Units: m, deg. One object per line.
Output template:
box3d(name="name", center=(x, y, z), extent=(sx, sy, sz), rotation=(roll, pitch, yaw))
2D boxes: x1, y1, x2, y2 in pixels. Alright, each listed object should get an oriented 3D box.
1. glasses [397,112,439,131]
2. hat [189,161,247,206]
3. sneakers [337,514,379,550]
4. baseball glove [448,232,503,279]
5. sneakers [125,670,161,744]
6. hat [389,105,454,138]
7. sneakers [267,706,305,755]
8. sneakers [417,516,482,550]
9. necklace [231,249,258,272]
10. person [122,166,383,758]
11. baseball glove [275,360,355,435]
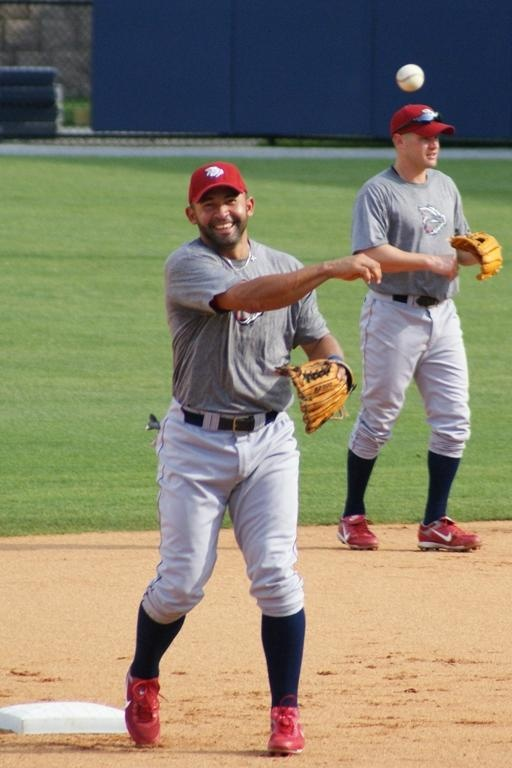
box3d(name="glasses", center=(0.743, -1.187, 6.287), extent=(0.119, 0.032, 0.117), rotation=(-21, 1, 36))
box3d(name="hat", center=(-0.124, -0.659, 4.646), extent=(0.185, 0.144, 0.247), rotation=(1, 13, -1))
box3d(name="sneakers", center=(0.496, 0.687, 6.475), extent=(0.102, 0.106, 0.249), rotation=(-3, 5, -31))
box3d(name="baseball glove", center=(1.036, -0.573, 6.247), extent=(0.205, 0.224, 0.197), rotation=(-26, 13, -13))
box3d(name="sneakers", center=(-0.366, 1.064, 4.632), extent=(0.109, 0.215, 0.101), rotation=(-2, -19, -13))
box3d(name="hat", center=(0.733, -1.181, 6.338), extent=(0.270, 0.120, 0.180), rotation=(-5, 1, 35))
box3d(name="sneakers", center=(0.102, 1.105, 4.495), extent=(0.119, 0.145, 0.102), rotation=(2, 15, 1))
box3d(name="sneakers", center=(0.887, 0.689, 6.509), extent=(0.351, 0.147, 0.118), rotation=(1, 5, 8))
box3d(name="necklace", center=(-0.039, -0.413, 4.681), extent=(0.076, 0.070, 0.074), rotation=(-10, 18, 0))
box3d(name="person", center=(-0.053, 0.232, 4.603), extent=(0.721, 1.865, 0.783), rotation=(2, 16, 3))
box3d(name="baseball glove", center=(0.242, 0.041, 4.824), extent=(0.240, 0.087, 0.192), rotation=(-20, 5, 18))
